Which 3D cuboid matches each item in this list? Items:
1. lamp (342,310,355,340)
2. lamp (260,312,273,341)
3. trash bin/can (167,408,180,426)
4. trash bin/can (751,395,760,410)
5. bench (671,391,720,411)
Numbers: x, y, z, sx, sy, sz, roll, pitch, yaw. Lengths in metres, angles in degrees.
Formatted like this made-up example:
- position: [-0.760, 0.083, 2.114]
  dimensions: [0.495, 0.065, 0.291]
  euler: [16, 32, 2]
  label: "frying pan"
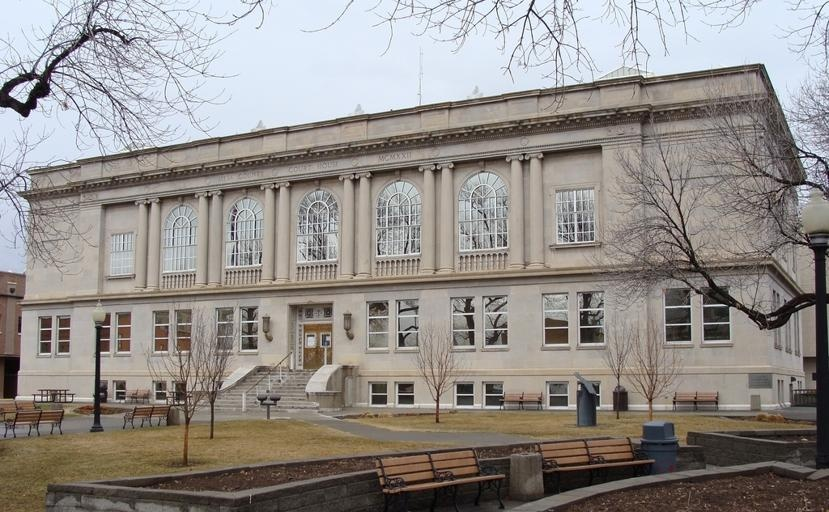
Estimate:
- position: [-4.346, 4.656, 54.255]
  dimensions: [0.667, 1.784, 0.663]
  euler: [-5, -12, 7]
  label: "lamp"
- position: [-10.196, 5.029, 56.495]
  dimensions: [0.703, 1.748, 0.605]
  euler: [-5, -12, 8]
  label: "lamp"
- position: [-12.007, 7.992, 41.029]
  dimensions: [0.481, 0.861, 0.598]
  euler: [-4, -13, 6]
  label: "trash bin/can"
- position: [18.977, 8.220, 45.885]
  dimensions: [0.623, 0.885, 0.456]
  euler: [-3, -13, 14]
  label: "trash bin/can"
- position: [15.967, 8.222, 46.826]
  dimensions: [2.544, 1.063, 0.728]
  euler: [-7, -13, 17]
  label: "bench"
